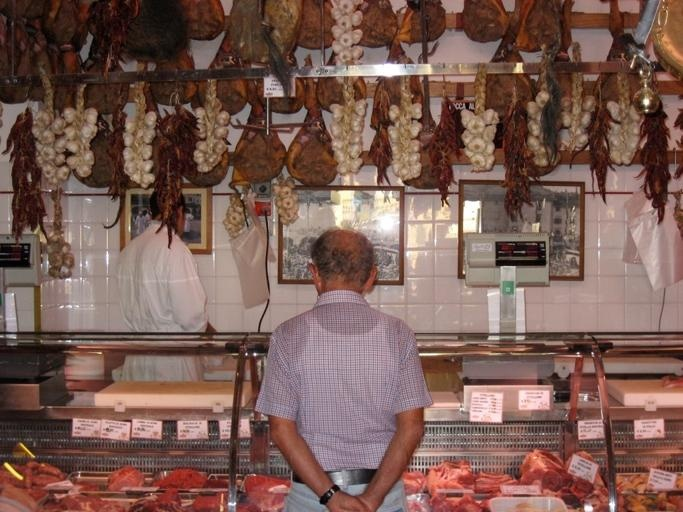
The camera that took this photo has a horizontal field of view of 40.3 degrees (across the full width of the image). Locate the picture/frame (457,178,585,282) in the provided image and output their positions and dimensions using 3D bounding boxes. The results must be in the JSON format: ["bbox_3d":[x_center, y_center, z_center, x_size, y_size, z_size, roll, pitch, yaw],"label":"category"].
[{"bbox_3d":[1.075,-0.193,5.636,0.552,0.522,0.021,0,1,-3],"label":"picture/frame"}]

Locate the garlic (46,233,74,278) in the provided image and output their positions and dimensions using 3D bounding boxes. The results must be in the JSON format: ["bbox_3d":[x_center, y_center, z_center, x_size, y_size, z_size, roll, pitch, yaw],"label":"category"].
[{"bbox_3d":[-1.661,0.005,5.524,0.171,0.309,0.083,-1,14,11],"label":"garlic"}]

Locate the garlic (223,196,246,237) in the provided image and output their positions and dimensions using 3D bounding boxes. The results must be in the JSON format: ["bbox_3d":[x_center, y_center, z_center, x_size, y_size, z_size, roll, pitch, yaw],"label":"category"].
[{"bbox_3d":[-0.689,-0.264,6.042,0.130,0.260,0.085,-2,7,-2],"label":"garlic"}]

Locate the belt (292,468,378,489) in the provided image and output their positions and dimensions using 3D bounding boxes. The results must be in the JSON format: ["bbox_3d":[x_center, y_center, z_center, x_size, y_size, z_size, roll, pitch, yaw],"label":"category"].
[{"bbox_3d":[0.043,0.945,3.969,0.206,0.078,0.018,1,2,-7],"label":"belt"}]

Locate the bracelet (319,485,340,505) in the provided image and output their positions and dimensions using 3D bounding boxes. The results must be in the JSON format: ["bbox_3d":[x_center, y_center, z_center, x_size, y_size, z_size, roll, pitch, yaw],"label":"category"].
[{"bbox_3d":[-0.051,1.009,3.984,0.058,0.097,0.089,33,-8,18],"label":"bracelet"}]
